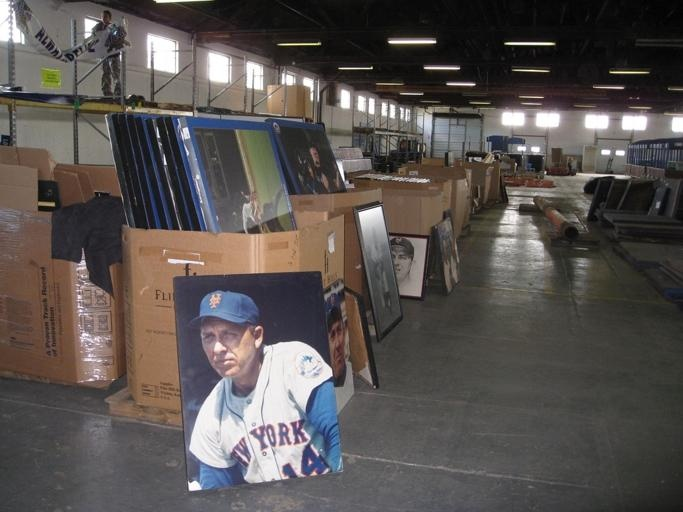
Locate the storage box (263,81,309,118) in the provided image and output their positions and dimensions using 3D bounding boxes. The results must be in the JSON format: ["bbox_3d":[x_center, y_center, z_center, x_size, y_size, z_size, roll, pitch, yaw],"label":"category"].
[{"bbox_3d":[-1.606,-4.311,15.473,1.196,1.304,1.251,8,13,30],"label":"storage box"}]

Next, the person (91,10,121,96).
[{"bbox_3d":[-4.108,-3.540,9.677,0.394,1.439,2.511,-4,16,-21],"label":"person"}]
